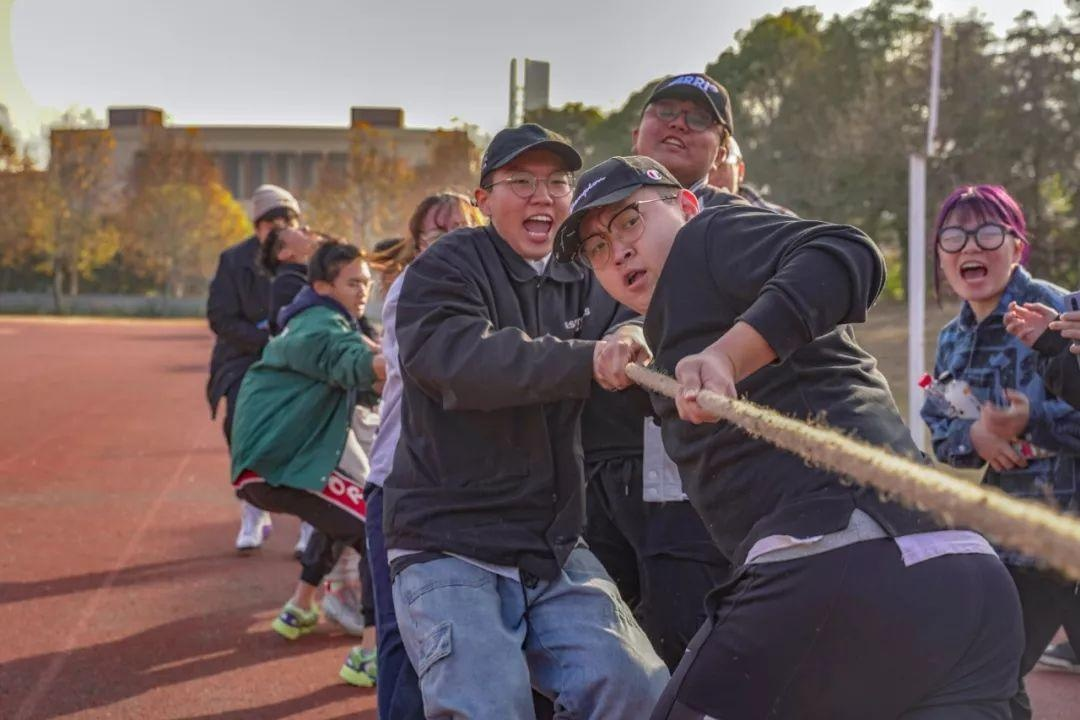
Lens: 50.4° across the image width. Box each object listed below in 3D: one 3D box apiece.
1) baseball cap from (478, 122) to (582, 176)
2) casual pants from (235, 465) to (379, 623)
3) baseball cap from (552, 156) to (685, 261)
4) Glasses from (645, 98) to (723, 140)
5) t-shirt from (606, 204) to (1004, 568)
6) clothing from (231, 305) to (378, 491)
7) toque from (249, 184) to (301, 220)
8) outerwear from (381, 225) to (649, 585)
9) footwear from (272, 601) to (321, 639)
[{"bbox_3d":[-0.091,-1.081,5.856,0.405,0.277,0.544,-10,1,-36],"label":"baseball cap"},{"bbox_3d":[-1.521,1.208,7.465,0.631,0.950,0.701,-18,38,-35],"label":"casual pants"},{"bbox_3d":[0.324,-0.655,5.119,0.507,0.278,0.379,-26,-8,-9],"label":"baseball cap"},{"bbox_3d":[0.785,-1.339,6.293,0.220,0.072,0.213,21,-11,3],"label":"Glasses"},{"bbox_3d":[1.151,0.148,5.144,0.818,1.528,1.488,-3,48,-13],"label":"t-shirt"},{"bbox_3d":[-1.344,0.194,7.272,1.077,1.243,1.348,7,-3,-14],"label":"clothing"},{"bbox_3d":[-2.037,-1.209,8.797,0.252,0.246,0.317,0,2,5],"label":"toque"},{"bbox_3d":[-0.087,0.215,5.659,1.254,1.763,1.195,2,-3,-1],"label":"outerwear"},{"bbox_3d":[-1.615,1.718,7.680,0.163,0.188,0.369,14,9,21],"label":"footwear"}]
